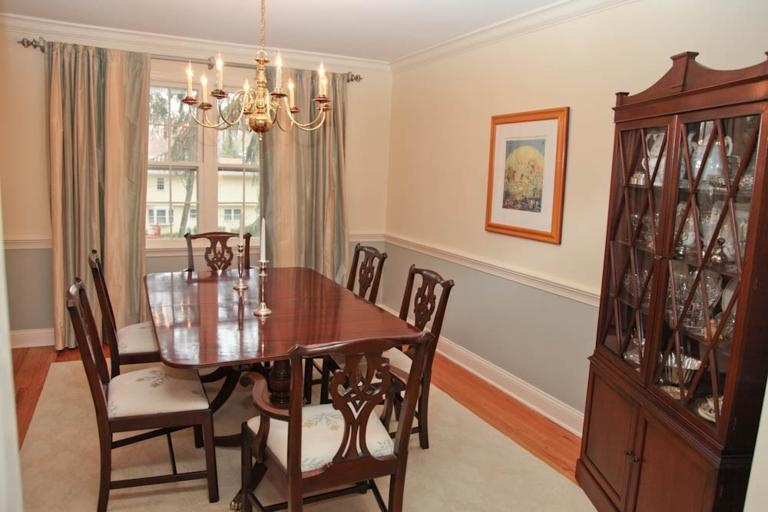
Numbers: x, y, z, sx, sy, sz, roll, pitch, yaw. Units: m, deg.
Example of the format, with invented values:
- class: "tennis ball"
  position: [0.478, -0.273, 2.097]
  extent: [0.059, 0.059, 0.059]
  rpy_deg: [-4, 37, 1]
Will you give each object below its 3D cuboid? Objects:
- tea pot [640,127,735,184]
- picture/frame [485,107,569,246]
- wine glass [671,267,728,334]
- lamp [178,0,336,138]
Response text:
- class: "tea pot"
  position: [1.556, -0.507, 2.698]
  extent: [0.117, 0.273, 0.297]
  rpy_deg: [-16, 19, -24]
- class: "picture/frame"
  position: [1.131, -0.649, 4.266]
  extent: [0.175, 1.008, 0.851]
  rpy_deg: [-4, 13, -26]
- class: "wine glass"
  position: [1.571, 0.215, 2.637]
  extent: [0.218, 0.245, 0.251]
  rpy_deg: [5, 9, 32]
- class: "lamp"
  position: [-1.215, -1.680, 4.766]
  extent: [1.021, 1.337, 1.007]
  rpy_deg: [-7, 14, -38]
